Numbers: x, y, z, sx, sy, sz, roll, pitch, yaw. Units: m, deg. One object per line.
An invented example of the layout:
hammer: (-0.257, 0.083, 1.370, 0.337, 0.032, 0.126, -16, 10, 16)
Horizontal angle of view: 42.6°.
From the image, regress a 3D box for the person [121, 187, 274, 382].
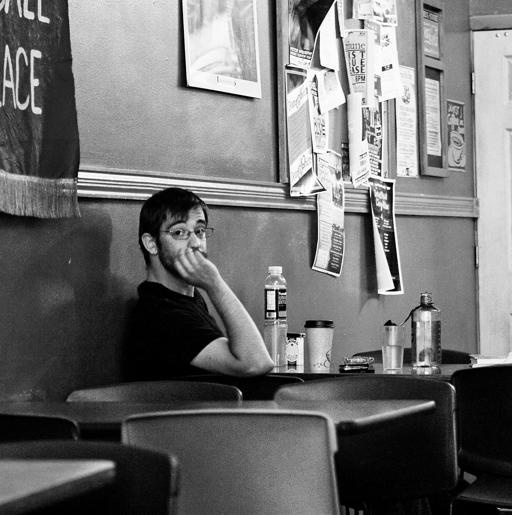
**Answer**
person: (-0.224, 0.131, 2.265, 0.447, 0.707, 0.789, -3, 2, -9)
